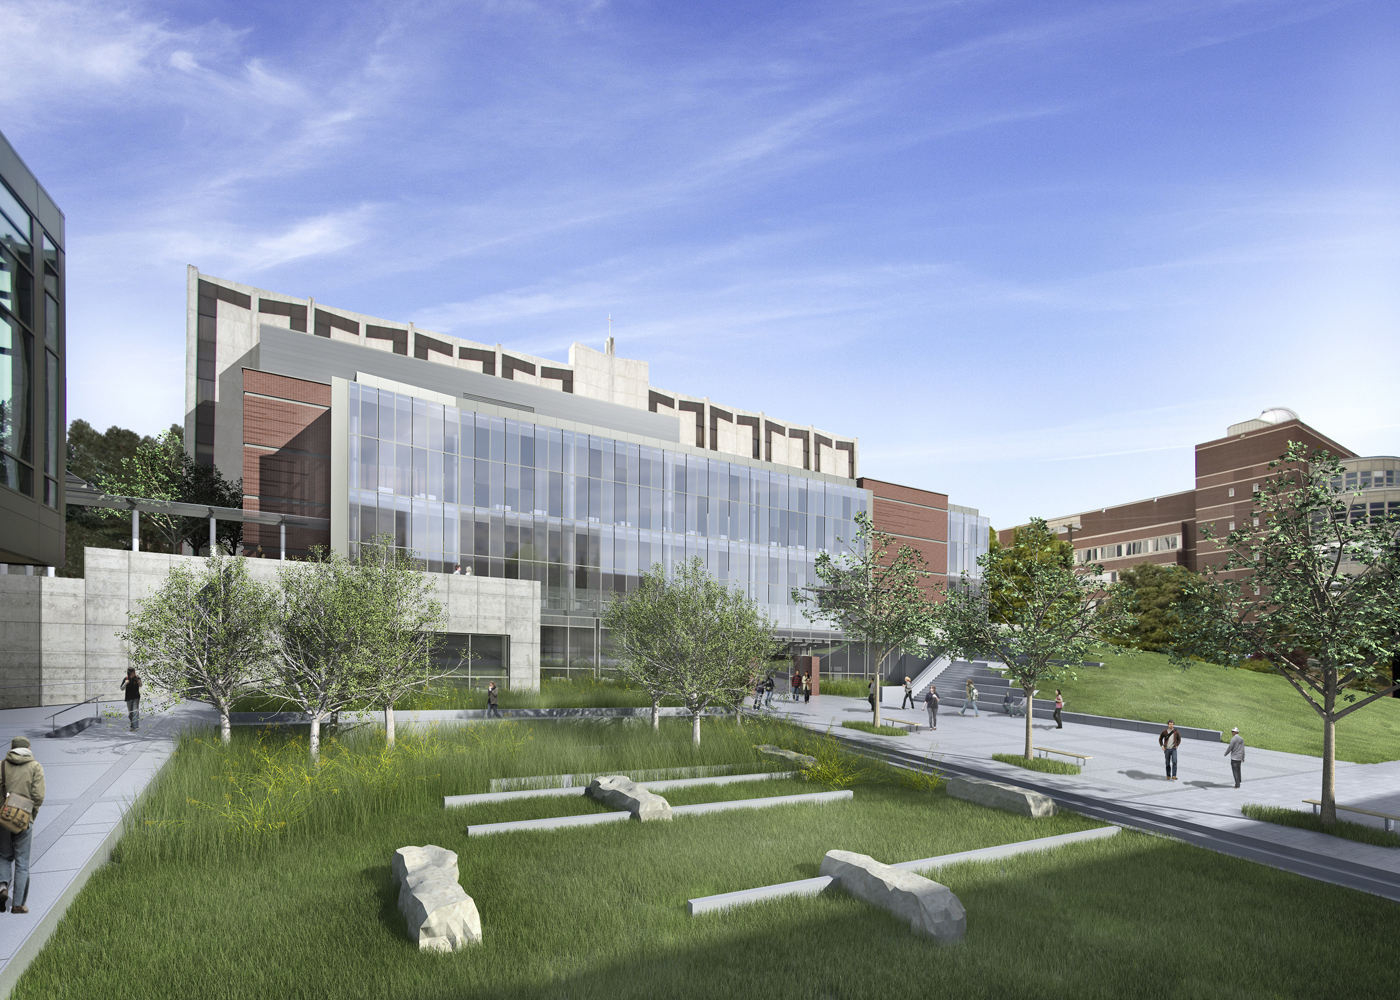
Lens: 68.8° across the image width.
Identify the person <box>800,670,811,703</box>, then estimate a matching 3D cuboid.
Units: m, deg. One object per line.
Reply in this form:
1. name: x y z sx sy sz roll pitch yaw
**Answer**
1. person: 6.098 10.907 59.438 0.725 0.752 2.226 9 -53 10
